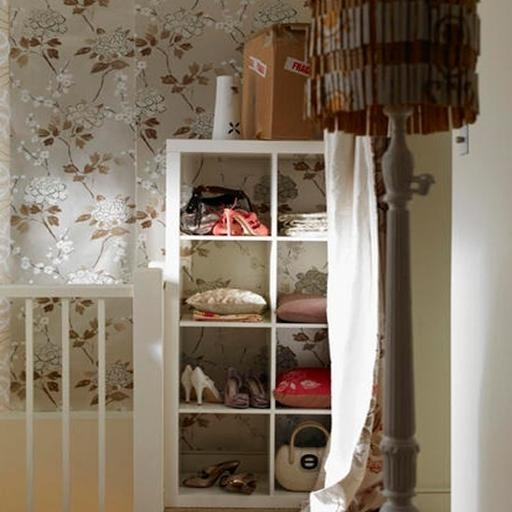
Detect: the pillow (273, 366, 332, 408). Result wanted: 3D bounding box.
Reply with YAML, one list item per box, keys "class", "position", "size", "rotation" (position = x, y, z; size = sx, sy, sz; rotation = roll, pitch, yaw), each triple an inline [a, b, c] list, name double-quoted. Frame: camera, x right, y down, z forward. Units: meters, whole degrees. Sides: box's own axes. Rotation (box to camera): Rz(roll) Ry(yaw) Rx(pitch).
- class: "pillow"
  position: [0.211, 0.513, 2.831]
  size: [0.225, 0.072, 0.261]
  rotation: [-2, 26, 5]

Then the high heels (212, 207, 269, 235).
- class: "high heels"
  position: [-0.056, -0.147, 2.805]
  size: [0.172, 0.066, 0.125]
  rotation: [1, 5, -16]

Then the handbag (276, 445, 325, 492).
- class: "handbag"
  position: [0.183, 0.863, 2.775]
  size: [0.207, 0.188, 0.073]
  rotation: [1, -2, -1]

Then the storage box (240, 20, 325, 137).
- class: "storage box"
  position: [0.116, -0.692, 2.803]
  size: [0.366, 0.439, 0.357]
  rotation: [7, 7, 30]
